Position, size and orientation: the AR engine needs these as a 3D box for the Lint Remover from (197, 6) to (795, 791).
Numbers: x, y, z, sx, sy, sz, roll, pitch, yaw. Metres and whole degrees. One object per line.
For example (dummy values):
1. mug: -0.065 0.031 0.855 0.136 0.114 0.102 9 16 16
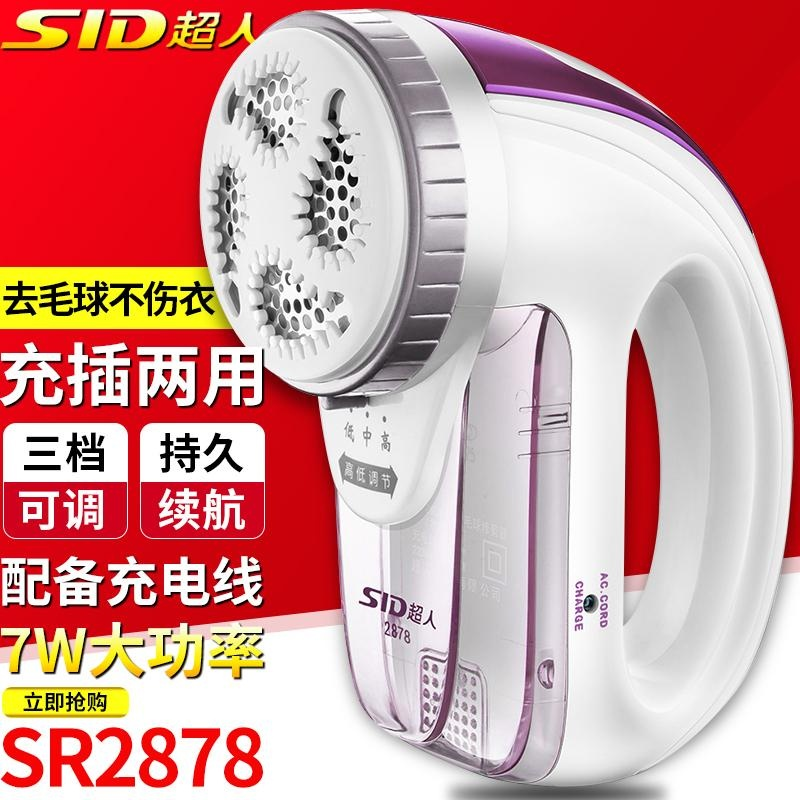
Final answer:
1. Lint Remover: 0.035 -0.094 1.565 0.741 1.356 0.523 -1 7 -31
